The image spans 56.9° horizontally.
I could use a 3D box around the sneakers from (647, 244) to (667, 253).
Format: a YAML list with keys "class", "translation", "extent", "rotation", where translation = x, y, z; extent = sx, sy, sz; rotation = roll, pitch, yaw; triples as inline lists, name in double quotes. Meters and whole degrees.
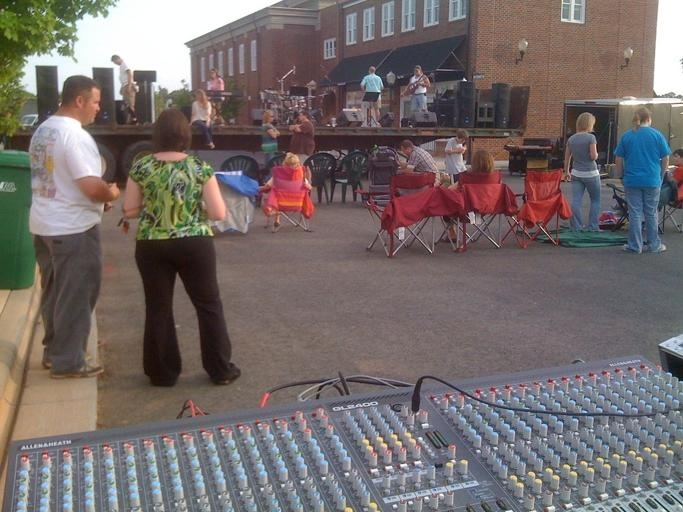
- class: "sneakers"
  translation: [4.981, -0.123, 9.921]
  extent: [0.368, 0.180, 0.137]
  rotation: [-3, 7, -28]

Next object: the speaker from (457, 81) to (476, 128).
- class: "speaker"
  translation: [4.307, -5.197, 21.658]
  extent: [0.638, 1.489, 0.436]
  rotation: [2, 10, 10]

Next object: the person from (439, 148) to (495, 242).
- class: "person"
  translation: [2.123, -0.974, 10.520]
  extent: [0.713, 1.590, 1.149]
  rotation: [2, 11, 9]

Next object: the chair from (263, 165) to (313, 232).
- class: "chair"
  translation: [-1.017, -1.137, 12.016]
  extent: [1.125, 1.600, 1.251]
  rotation: [0, 15, -7]

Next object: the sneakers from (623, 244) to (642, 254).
- class: "sneakers"
  translation: [4.553, -0.122, 9.829]
  extent: [0.321, 0.145, 0.121]
  rotation: [7, 14, 43]

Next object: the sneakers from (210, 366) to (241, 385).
- class: "sneakers"
  translation: [-0.862, 0.901, 4.750]
  extent: [0.108, 0.082, 0.191]
  rotation: [32, 49, 27]

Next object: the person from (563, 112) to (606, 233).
- class: "person"
  translation: [4.248, -1.445, 11.088]
  extent: [0.576, 2.065, 0.864]
  rotation: [6, 12, 28]

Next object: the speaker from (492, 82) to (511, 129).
- class: "speaker"
  translation: [5.626, -5.258, 22.214]
  extent: [0.595, 1.523, 0.595]
  rotation: [2, 10, 8]

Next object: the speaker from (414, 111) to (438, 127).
- class: "speaker"
  translation: [2.882, -4.694, 21.624]
  extent: [0.759, 0.473, 0.351]
  rotation: [2, 11, 7]

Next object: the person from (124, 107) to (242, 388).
- class: "person"
  translation: [-1.149, -0.016, 4.495]
  extent: [0.692, 2.007, 0.356]
  rotation: [1, 10, 3]

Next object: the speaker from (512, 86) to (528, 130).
- class: "speaker"
  translation: [6.401, -5.357, 22.650]
  extent: [0.330, 1.319, 1.282]
  rotation: [2, 24, -11]

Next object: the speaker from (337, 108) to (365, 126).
- class: "speaker"
  translation: [0.338, -4.702, 21.890]
  extent: [0.703, 0.726, 0.727]
  rotation: [-1, 29, -17]

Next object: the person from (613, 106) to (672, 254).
- class: "person"
  translation: [4.618, -1.151, 9.686]
  extent: [0.789, 2.173, 0.461]
  rotation: [5, 11, 25]

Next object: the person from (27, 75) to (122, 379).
- class: "person"
  translation: [-1.959, -0.181, 4.570]
  extent: [0.760, 2.172, 0.415]
  rotation: [5, 11, 26]

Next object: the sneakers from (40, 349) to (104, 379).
- class: "sneakers"
  translation: [-2.037, 0.826, 4.729]
  extent: [0.379, 0.161, 0.198]
  rotation: [-2, 8, -21]
